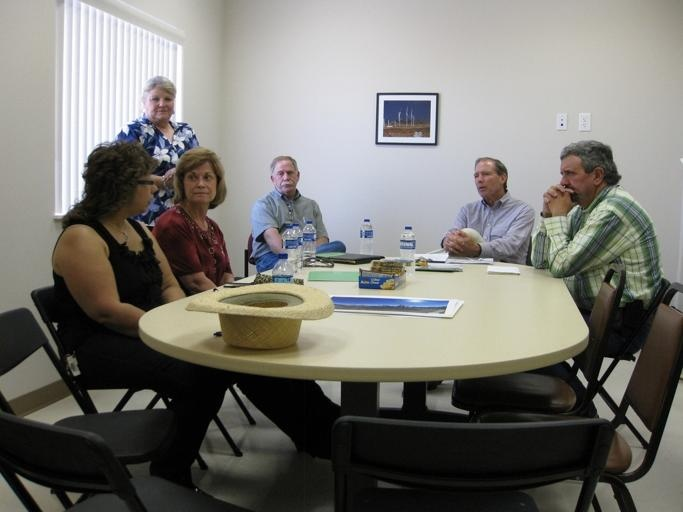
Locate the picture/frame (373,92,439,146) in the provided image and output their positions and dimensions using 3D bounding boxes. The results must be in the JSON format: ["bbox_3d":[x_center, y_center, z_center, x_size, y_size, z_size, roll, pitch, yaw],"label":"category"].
[{"bbox_3d":[0.617,-1.267,4.542,0.449,0.414,0.021,1,1,5],"label":"picture/frame"}]

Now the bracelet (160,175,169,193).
[{"bbox_3d":[-1.223,-0.506,3.415,0.059,0.089,0.087,1,-3,3],"label":"bracelet"}]

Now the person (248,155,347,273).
[{"bbox_3d":[-0.348,-0.329,4.095,0.846,1.045,0.818,-3,8,-1],"label":"person"}]

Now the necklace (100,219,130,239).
[{"bbox_3d":[-0.961,-0.115,2.112,0.096,0.101,0.059,13,16,-13],"label":"necklace"}]

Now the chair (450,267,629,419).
[{"bbox_3d":[0.775,0.518,2.026,0.612,0.971,0.513,-1,3,16],"label":"chair"}]
